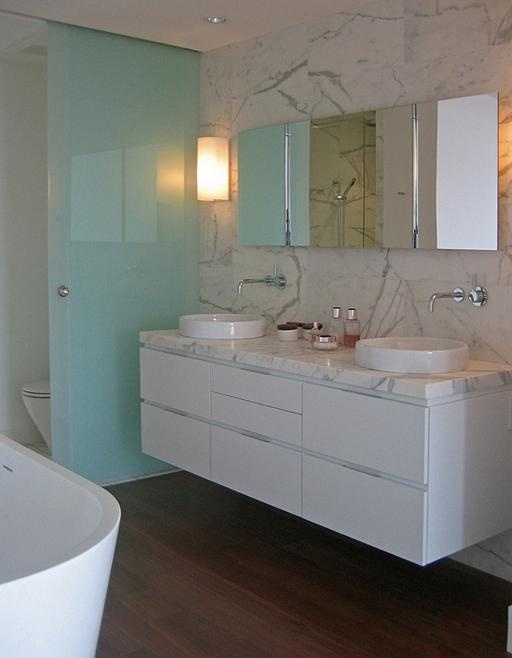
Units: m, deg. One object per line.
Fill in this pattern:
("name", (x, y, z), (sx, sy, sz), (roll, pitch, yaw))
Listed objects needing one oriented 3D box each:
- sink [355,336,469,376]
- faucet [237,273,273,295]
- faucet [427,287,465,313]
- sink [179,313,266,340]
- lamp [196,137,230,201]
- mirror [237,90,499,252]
("sink", (0.553, 0.092, 1.963), (0.374, 0.101, 0.432), (-1, 2, 11))
("faucet", (-0.049, -0.255, 2.959), (0.255, 0.120, 0.083), (-3, 5, -34))
("faucet", (0.692, -0.116, 2.070), (0.200, 0.111, 0.077), (-1, 3, -27))
("sink", (-0.189, -0.011, 2.887), (0.432, 0.126, 0.476), (-1, 2, -9))
("lamp", (-0.252, -0.929, 3.200), (0.198, 0.359, 0.165), (-1, 2, -2))
("mirror", (0.424, -0.638, 2.419), (1.337, 0.557, 0.008), (9, 17, 40))
